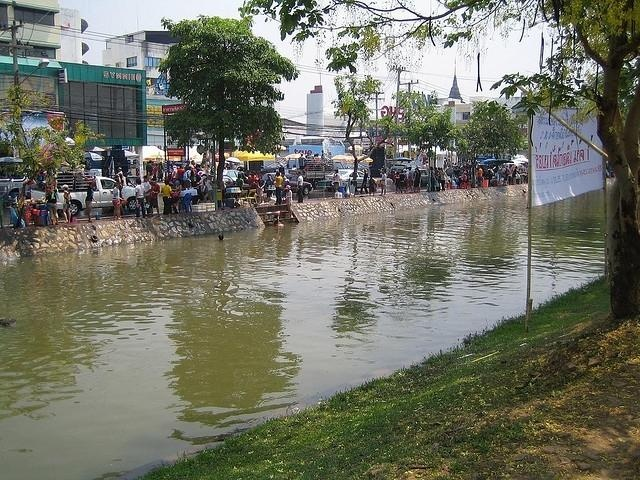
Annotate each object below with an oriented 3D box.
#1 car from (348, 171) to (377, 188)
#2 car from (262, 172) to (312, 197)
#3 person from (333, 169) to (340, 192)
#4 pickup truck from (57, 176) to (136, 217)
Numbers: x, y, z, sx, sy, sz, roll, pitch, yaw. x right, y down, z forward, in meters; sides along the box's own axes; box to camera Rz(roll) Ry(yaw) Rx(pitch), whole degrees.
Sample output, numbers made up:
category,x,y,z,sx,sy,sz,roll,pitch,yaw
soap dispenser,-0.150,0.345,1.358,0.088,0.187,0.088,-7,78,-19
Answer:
category,x,y,z,sx,sy,sz,roll,pitch,yaw
car,2.695,-4.065,51.923,2.024,1.143,1.280,-4,11,-10
car,-1.899,-3.254,44.690,2.530,1.237,1.447,-5,12,-16
person,0.896,-3.288,43.501,0.325,1.111,0.789,0,10,3
pickup truck,-9.540,-2.002,33.514,2.791,1.279,1.378,-7,10,-41
